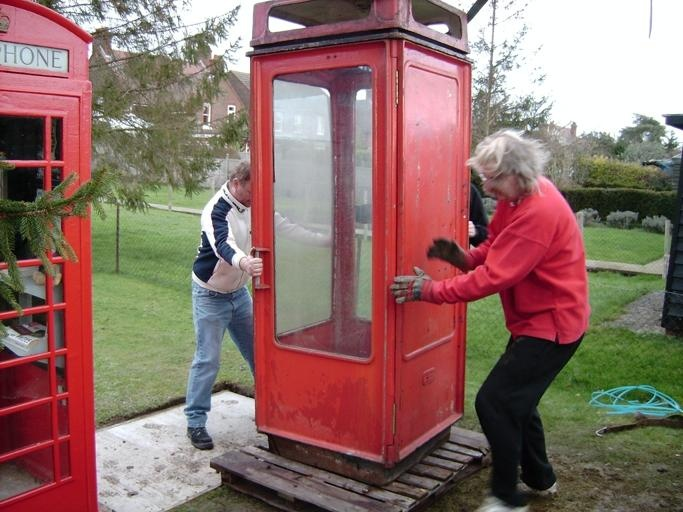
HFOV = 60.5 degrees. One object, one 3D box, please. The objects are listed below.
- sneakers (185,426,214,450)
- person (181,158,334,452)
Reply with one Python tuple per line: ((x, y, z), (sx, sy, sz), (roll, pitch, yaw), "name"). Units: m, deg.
((-1.072, 1.368, 4.425), (0.095, 0.123, 0.246), (1, 0, -40), "sneakers")
((-0.830, 0.369, 4.364), (0.527, 2.139, 1.089), (-2, 7, -35), "person")
